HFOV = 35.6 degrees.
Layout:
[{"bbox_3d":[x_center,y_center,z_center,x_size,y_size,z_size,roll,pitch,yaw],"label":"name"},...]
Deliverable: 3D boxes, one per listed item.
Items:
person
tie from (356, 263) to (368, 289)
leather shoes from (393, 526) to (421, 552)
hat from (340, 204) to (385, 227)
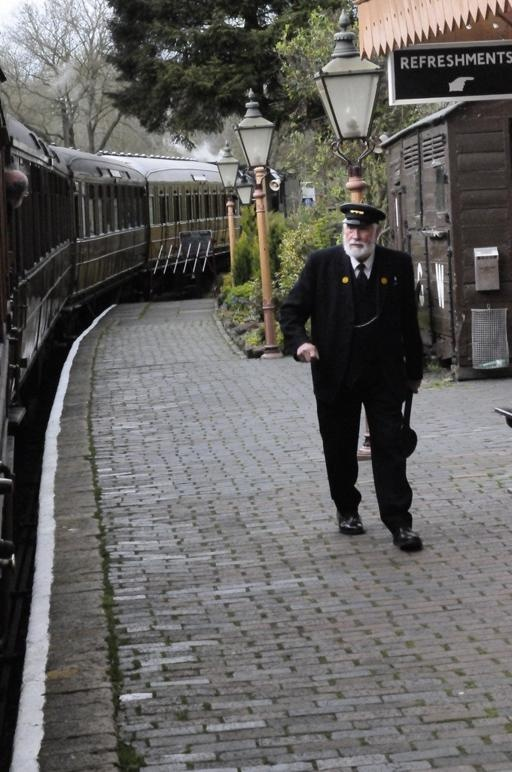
[{"bbox_3d":[0.518,0.061,4.246,0.748,1.614,0.550,-3,3,-4],"label":"person"},{"bbox_3d":[0.548,-0.568,4.124,0.062,0.133,0.015,-2,3,5],"label":"tie"},{"bbox_3d":[0.790,0.801,4.194,0.083,0.075,0.183,-3,8,-7],"label":"leather shoes"},{"bbox_3d":[0.531,-0.881,4.043,0.213,0.140,0.289,-2,3,6],"label":"hat"}]
